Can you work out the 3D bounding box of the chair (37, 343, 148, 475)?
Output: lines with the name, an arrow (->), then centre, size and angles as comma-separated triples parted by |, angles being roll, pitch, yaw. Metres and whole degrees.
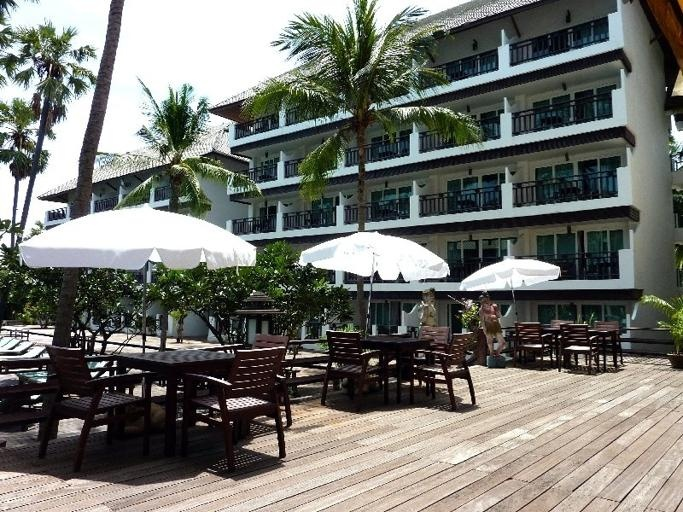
chair -> -3.624, 2.128, 8.129 | 1.323, 1.589, 1.334 | -2, -6, 26
